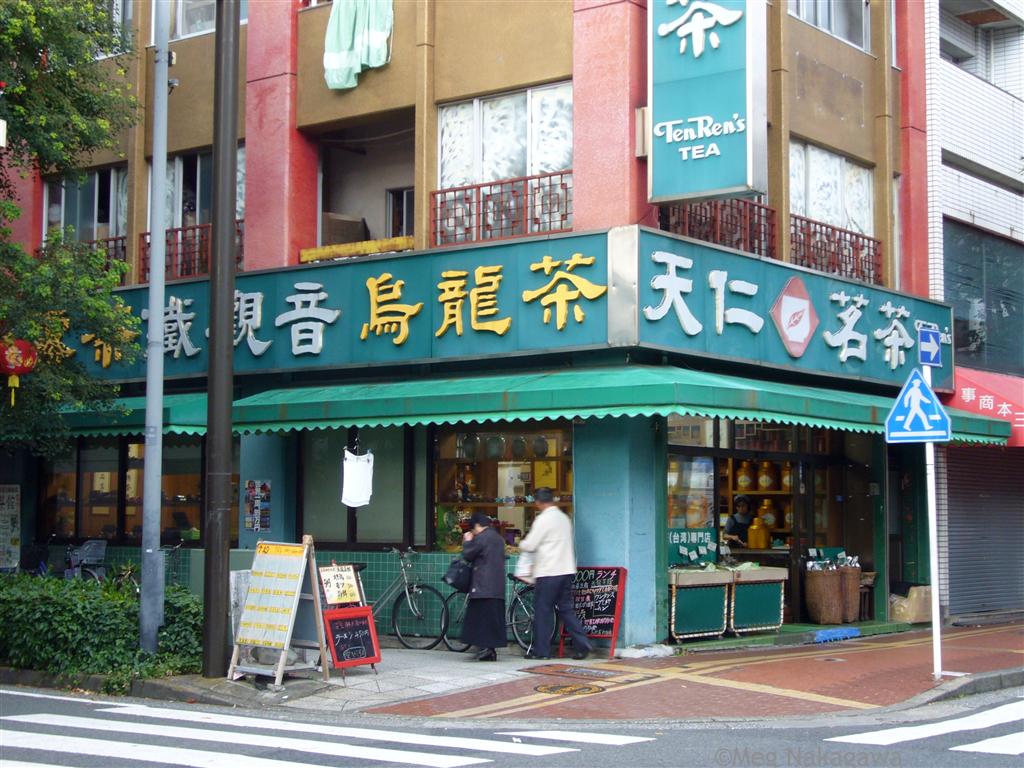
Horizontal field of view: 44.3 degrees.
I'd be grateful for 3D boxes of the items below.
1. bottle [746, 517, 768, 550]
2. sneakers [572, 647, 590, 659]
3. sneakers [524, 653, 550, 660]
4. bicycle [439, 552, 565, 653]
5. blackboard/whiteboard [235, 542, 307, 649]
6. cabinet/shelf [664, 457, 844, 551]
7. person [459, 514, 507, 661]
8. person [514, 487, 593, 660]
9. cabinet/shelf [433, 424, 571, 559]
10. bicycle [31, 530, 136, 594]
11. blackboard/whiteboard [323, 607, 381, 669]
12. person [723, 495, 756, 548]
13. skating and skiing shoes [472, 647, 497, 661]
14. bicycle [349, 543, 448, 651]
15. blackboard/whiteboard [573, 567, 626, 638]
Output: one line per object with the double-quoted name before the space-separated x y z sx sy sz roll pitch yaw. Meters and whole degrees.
"bottle" 3.847 2.363 19.651 0.432 0.631 0.447 0 -6 0
"sneakers" 0.886 3.418 16.032 0.221 0.227 0.114 3 -2 28
"sneakers" 0.321 3.446 15.955 0.283 0.120 0.105 2 -6 18
"bicycle" -0.432 2.875 16.739 1.858 1.216 0.965 3 -1 30
"blackboard/whiteboard" -2.683 2.409 14.075 1.161 1.519 0.113 -3 -17 44
"cabinet/shelf" 3.566 1.808 18.917 1.562 1.526 0.477 1 2 -20
"person" -0.343 2.605 16.095 0.553 1.809 0.328 1 -6 5
"person" 0.533 2.519 15.981 0.847 1.914 0.296 1 -6 2
"cabinet/shelf" -0.114 1.526 17.767 1.871 1.876 0.578 -1 3 -1
"bicycle" -6.664 2.721 19.666 1.401 0.659 4.833 4 -7 -24
"blackboard/whiteboard" -1.829 2.854 14.150 0.127 0.775 0.759 -22 -12 36
"person" 3.464 2.096 19.047 0.192 0.787 0.971 -2 -7 27
"skating and skiing shoes" -0.349 3.432 16.043 0.328 0.243 0.130 5 -3 7
"bicycle" -1.348 3.136 18.035 1.670 1.103 0.862 0 -1 36
"blackboard/whiteboard" 1.171 2.854 16.301 0.779 1.030 0.342 -4 -19 23
